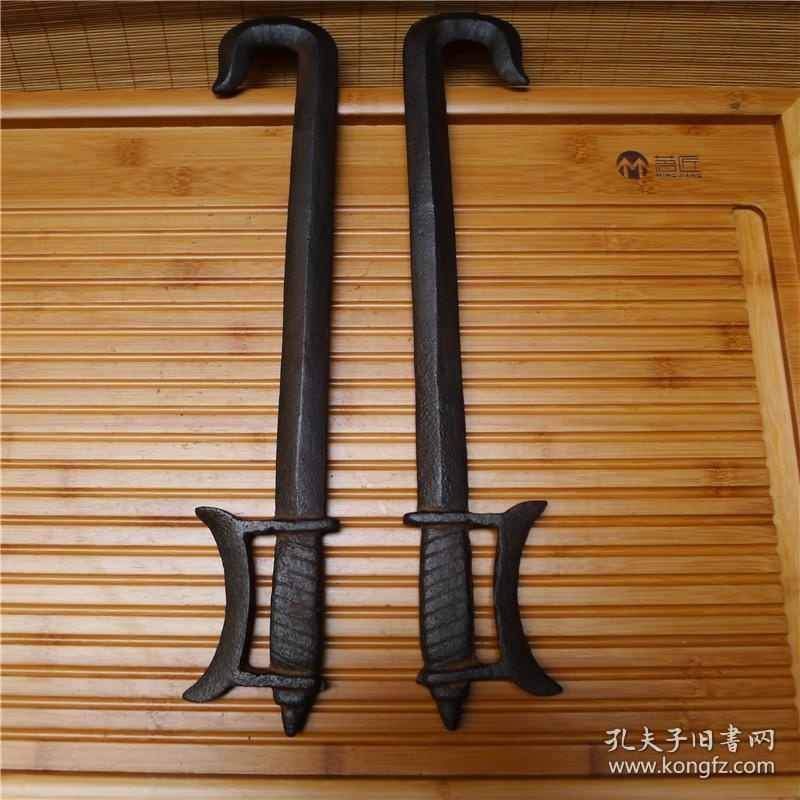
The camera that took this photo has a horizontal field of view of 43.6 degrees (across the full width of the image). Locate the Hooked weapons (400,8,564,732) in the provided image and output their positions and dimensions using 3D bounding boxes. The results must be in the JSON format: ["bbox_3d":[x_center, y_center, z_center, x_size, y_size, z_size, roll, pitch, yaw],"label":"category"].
[{"bbox_3d":[0.213,-0.079,2.690,0.230,1.958,0.574,1,-5,-41],"label":"Hooked weapons"}]
